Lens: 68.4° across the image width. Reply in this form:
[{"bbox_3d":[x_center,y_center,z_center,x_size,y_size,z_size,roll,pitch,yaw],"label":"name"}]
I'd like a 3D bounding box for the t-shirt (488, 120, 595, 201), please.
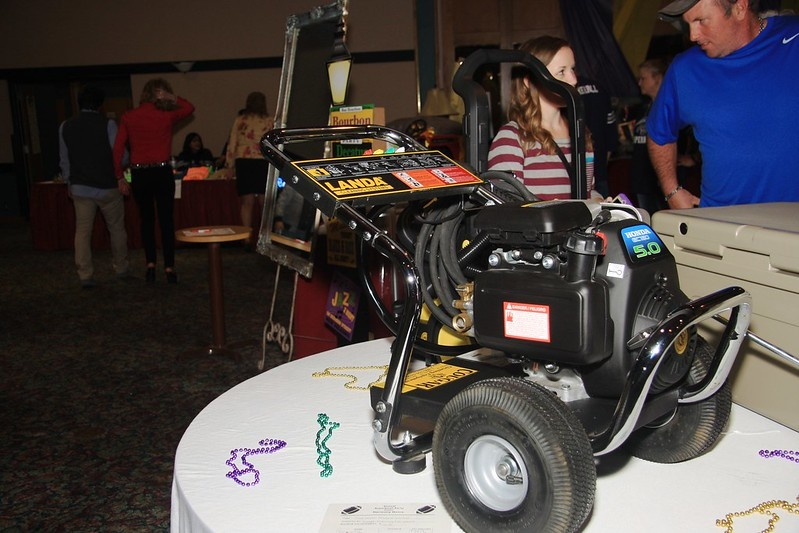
[{"bbox_3d":[0.590,-0.454,2.515,0.429,0.417,0.233,-5,5,-29],"label":"t-shirt"}]

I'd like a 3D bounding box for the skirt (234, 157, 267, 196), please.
[{"bbox_3d":[-1.828,-1.132,7.233,0.490,0.545,0.125,0,12,8],"label":"skirt"}]

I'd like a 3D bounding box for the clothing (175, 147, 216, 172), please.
[{"bbox_3d":[-3.059,-1.609,8.833,0.585,0.255,0.572,-27,32,-35],"label":"clothing"}]

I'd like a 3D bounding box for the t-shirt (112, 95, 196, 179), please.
[{"bbox_3d":[-2.457,-1.089,5.927,0.748,1.333,0.418,-6,10,-29],"label":"t-shirt"}]

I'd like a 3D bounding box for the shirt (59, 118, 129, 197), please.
[{"bbox_3d":[-3.136,-1.149,6.026,0.609,0.830,0.422,-5,9,-28],"label":"shirt"}]

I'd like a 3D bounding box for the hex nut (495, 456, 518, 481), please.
[{"bbox_3d":[0.278,0.521,1.530,0.029,0.060,0.057,-21,-9,-47],"label":"hex nut"}]
